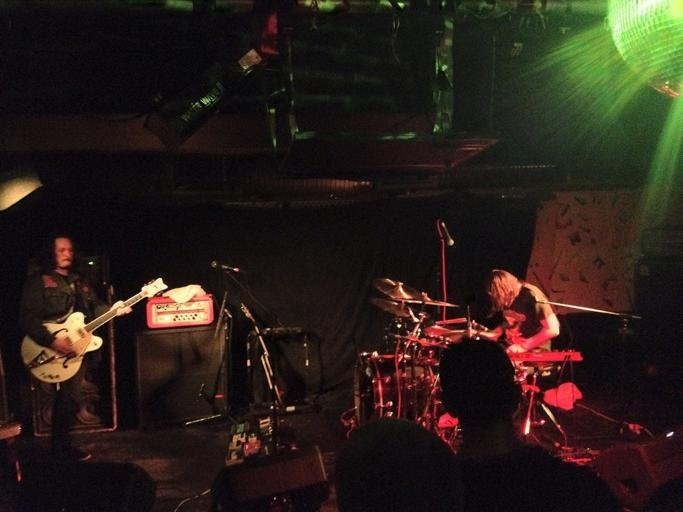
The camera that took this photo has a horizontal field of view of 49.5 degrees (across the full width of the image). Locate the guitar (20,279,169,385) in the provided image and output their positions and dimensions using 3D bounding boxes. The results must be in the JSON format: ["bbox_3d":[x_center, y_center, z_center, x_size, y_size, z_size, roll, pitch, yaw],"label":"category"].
[{"bbox_3d":[-2.410,0.704,7.135,1.498,0.557,0.159,-37,6,-38],"label":"guitar"}]

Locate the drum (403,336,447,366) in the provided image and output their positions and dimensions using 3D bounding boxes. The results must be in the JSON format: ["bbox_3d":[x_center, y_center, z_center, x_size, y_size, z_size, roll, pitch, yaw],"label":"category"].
[{"bbox_3d":[0.759,0.845,6.744,0.351,0.297,0.486,-1,14,4],"label":"drum"}]

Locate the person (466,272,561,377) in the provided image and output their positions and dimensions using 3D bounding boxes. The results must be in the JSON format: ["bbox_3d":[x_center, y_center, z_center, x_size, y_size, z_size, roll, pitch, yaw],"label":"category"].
[{"bbox_3d":[1.594,0.632,7.209,1.008,0.988,0.809,0,-1,8],"label":"person"}]

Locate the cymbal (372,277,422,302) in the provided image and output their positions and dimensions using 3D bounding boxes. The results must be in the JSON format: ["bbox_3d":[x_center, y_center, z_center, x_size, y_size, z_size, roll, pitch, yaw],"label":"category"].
[{"bbox_3d":[0.532,0.332,6.792,0.285,0.174,0.509,-8,15,-25],"label":"cymbal"}]

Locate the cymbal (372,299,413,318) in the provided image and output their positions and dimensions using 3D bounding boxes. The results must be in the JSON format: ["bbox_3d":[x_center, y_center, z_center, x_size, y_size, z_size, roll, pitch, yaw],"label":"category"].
[{"bbox_3d":[0.466,0.472,6.805,0.254,0.054,0.247,12,6,17],"label":"cymbal"}]

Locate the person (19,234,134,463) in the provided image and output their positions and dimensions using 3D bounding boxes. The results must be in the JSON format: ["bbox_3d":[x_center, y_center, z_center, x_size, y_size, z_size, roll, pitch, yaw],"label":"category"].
[{"bbox_3d":[-2.604,0.823,7.036,0.717,1.939,1.121,0,15,9],"label":"person"}]

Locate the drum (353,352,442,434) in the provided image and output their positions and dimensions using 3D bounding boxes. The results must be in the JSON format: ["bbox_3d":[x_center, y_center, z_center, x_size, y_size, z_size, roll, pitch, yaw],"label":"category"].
[{"bbox_3d":[0.494,1.204,6.942,0.745,0.884,0.878,0,-6,-7],"label":"drum"}]

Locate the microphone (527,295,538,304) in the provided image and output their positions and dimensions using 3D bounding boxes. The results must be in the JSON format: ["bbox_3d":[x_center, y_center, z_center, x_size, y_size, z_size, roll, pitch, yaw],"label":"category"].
[{"bbox_3d":[1.786,0.409,6.957,0.018,0.065,0.071,-29,17,-20],"label":"microphone"}]
